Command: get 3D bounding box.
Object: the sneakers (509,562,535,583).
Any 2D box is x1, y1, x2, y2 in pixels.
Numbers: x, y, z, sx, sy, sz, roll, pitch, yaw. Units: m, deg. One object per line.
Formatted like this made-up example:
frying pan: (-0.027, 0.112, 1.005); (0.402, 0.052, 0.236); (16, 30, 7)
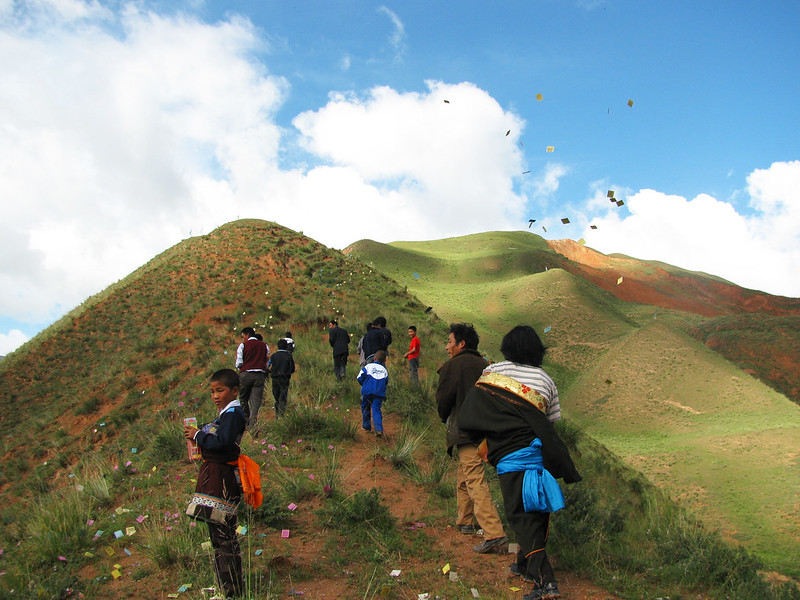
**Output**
sneakers: (1.908, 4.256, 9.671); (0.174, 0.452, 0.207); (-10, -61, -24)
